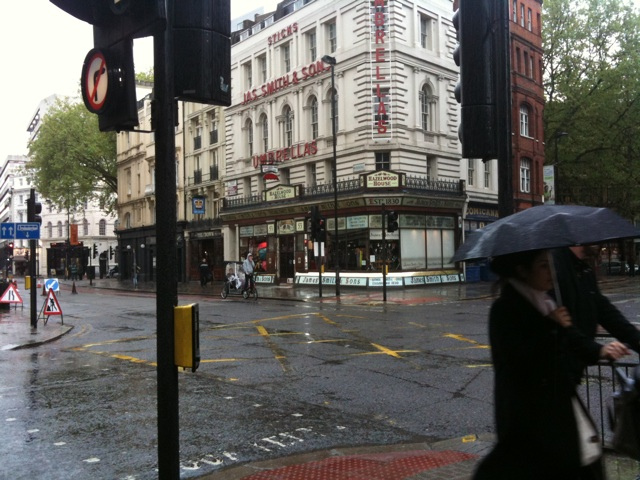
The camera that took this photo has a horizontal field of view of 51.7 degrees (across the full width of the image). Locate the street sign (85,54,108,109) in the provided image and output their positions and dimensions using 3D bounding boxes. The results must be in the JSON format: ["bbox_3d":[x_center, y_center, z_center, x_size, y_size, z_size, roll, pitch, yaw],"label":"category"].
[{"bbox_3d":[-1.757,-1.236,5.137,0.267,0.433,0.034,-5,-3,40],"label":"street sign"}]

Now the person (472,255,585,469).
[{"bbox_3d":[1.595,0.915,5.053,0.786,1.586,0.353,-3,-2,6],"label":"person"}]

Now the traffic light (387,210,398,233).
[{"bbox_3d":[2.652,-0.703,24.410,0.332,0.770,0.681,-3,-2,5],"label":"traffic light"}]

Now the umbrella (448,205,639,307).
[{"bbox_3d":[1.715,-0.066,5.380,0.989,0.672,0.999,-11,4,-34],"label":"umbrella"}]

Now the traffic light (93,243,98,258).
[{"bbox_3d":[-17.723,0.892,51.749,0.159,1.028,1.918,-2,-2,-21],"label":"traffic light"}]

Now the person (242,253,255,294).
[{"bbox_3d":[-2.884,1.297,26.415,0.412,1.453,1.339,-2,-2,-7],"label":"person"}]

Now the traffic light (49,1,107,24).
[{"bbox_3d":[-1.880,-1.795,5.140,0.400,0.151,0.152,-2,-2,-25],"label":"traffic light"}]
